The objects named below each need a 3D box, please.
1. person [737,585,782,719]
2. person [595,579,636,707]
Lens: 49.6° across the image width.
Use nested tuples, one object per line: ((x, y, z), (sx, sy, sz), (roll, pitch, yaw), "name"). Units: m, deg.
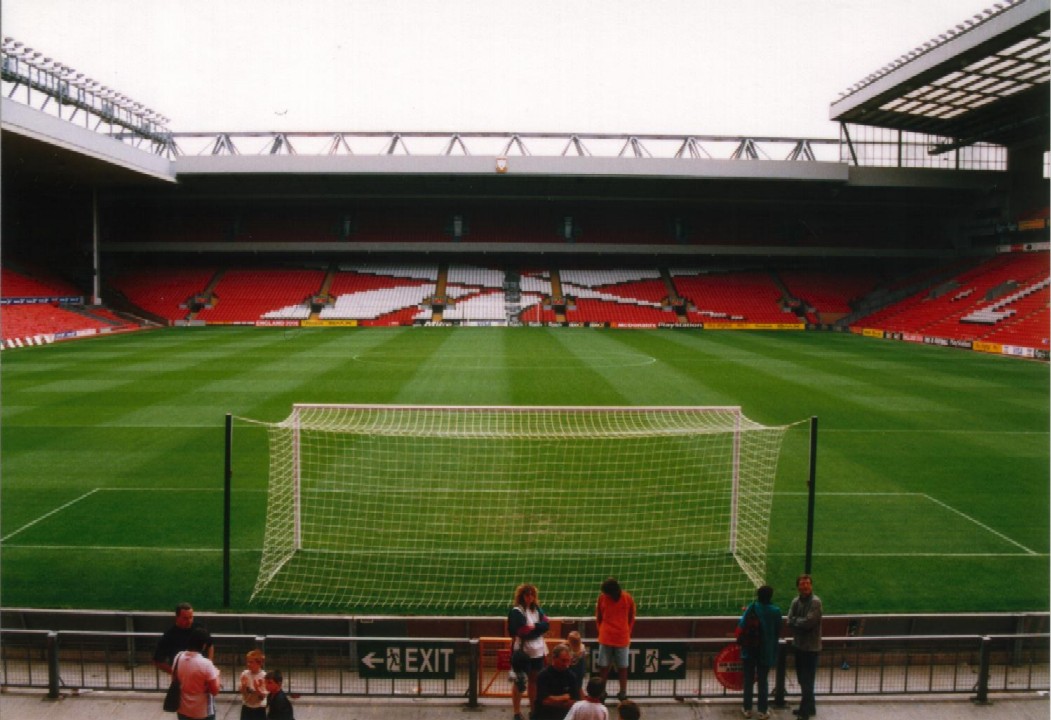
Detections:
((4.665, 5.797, 22.990), (0.664, 2.607, 0.714), (7, 10, 40), "person")
((1.784, 5.576, 23.039), (0.747, 2.414, 0.816), (1, 8, 3), "person")
